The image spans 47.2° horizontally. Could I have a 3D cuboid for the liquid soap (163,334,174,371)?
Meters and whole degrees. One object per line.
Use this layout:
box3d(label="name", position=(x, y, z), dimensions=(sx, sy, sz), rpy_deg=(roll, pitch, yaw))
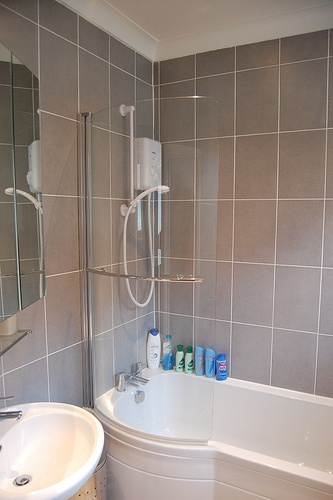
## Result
box3d(label="liquid soap", position=(0.006, 0.449, 1.665), dimensions=(0.051, 0.152, 0.070), rpy_deg=(2, 0, 1))

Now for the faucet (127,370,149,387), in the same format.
box3d(label="faucet", position=(-0.139, 0.563, 1.708), dimensions=(0.144, 0.075, 0.039), rpy_deg=(0, 1, 42))

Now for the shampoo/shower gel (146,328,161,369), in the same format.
box3d(label="shampoo/shower gel", position=(-0.057, 0.434, 1.666), dimensions=(0.067, 0.179, 0.075), rpy_deg=(2, 0, -3))
